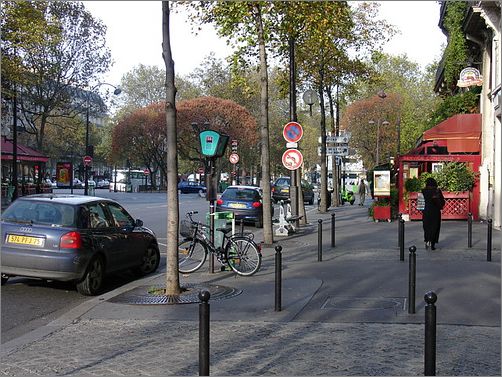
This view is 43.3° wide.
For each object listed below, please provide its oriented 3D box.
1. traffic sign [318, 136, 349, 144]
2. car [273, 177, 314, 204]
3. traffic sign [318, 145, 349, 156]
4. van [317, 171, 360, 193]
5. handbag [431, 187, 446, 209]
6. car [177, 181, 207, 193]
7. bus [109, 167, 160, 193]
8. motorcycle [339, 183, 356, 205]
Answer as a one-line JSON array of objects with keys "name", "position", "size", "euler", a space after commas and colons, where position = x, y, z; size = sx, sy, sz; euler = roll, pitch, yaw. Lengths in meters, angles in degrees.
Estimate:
[{"name": "traffic sign", "position": [3.838, -2.287, 29.331], "size": [1.596, 0.386, 0.235], "euler": [-1, -4, 10]}, {"name": "car", "position": [2.605, 0.044, 40.255], "size": [1.326, 1.079, 2.797], "euler": [0, 3, 23]}, {"name": "traffic sign", "position": [3.785, -1.743, 28.862], "size": [1.220, 0.447, 0.157], "euler": [1, -5, 0]}, {"name": "van", "position": [7.721, -0.638, 55.309], "size": [3.440, 2.287, 2.112], "euler": [0, -4, 5]}, {"name": "handbag", "position": [4.820, 0.265, 16.053], "size": [0.217, 0.503, 0.381], "euler": [-4, -2, 41]}, {"name": "car", "position": [-6.263, -0.132, 65.428], "size": [2.709, 1.224, 1.646], "euler": [-3, 0, 5]}, {"name": "bus", "position": [-14.133, -1.240, 79.368], "size": [3.629, 3.679, 8.808], "euler": [-2, -5, 25]}, {"name": "motorcycle", "position": [6.905, 0.545, 44.892], "size": [0.829, 1.077, 1.872], "euler": [-2, -7, 9]}]
